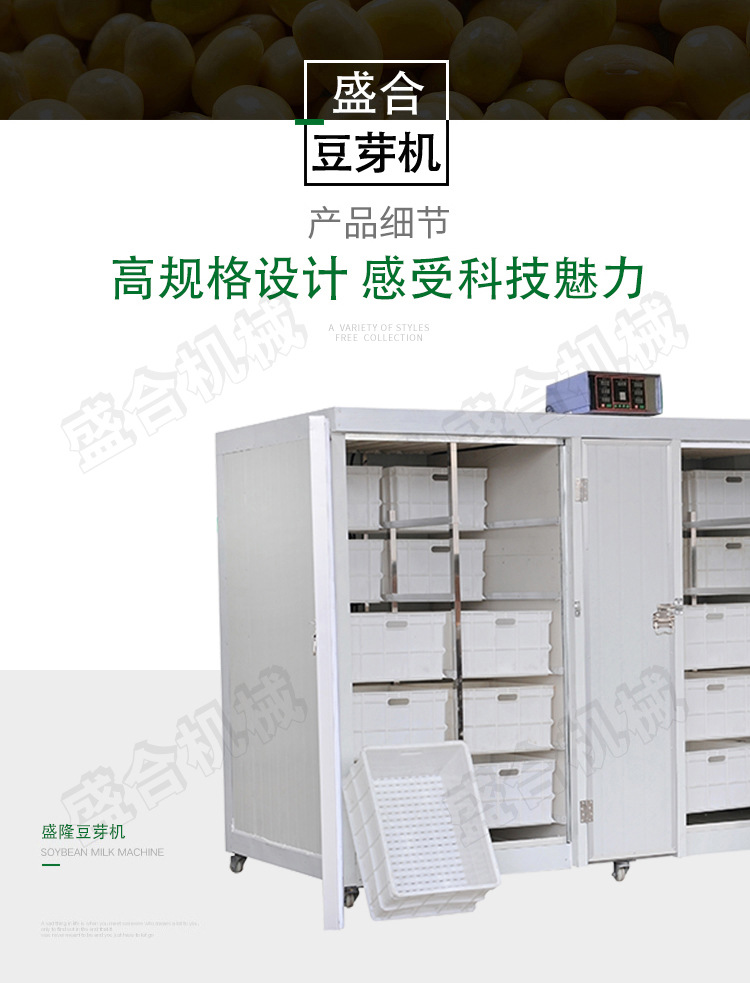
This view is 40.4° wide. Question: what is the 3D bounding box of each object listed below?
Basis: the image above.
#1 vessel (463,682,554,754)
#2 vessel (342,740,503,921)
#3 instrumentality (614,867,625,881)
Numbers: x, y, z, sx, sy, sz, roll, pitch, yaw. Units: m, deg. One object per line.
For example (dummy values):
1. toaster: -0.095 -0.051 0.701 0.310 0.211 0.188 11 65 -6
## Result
1. vessel: 0.531 0.922 4.085 0.262 0.207 0.294 0 -2 -4
2. vessel: 0.151 1.164 3.527 0.512 0.569 0.551 -2 0 -6
3. instrumentality: 0.966 1.521 4.032 0.034 0.064 0.052 2 -5 -21
